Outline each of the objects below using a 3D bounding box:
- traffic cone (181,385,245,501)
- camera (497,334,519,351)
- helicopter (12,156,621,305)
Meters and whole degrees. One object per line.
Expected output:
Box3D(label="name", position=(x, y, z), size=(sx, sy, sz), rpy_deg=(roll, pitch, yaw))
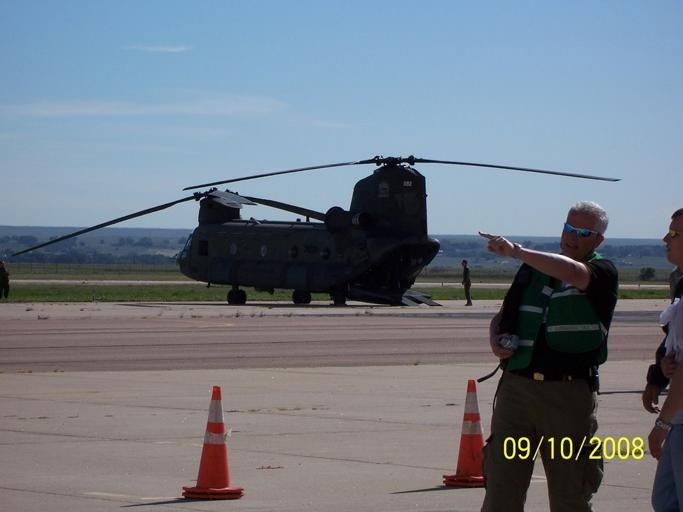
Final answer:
Box3D(label="traffic cone", position=(-1.226, 1.823, 11.007), size=(0.603, 1.052, 0.467), rpy_deg=(3, 5, -6))
Box3D(label="camera", position=(1.429, 0.730, 9.507), size=(0.173, 0.108, 0.141), rpy_deg=(8, -5, -8))
Box3D(label="helicopter", position=(-1.790, -0.449, 37.645), size=(9.605, 2.348, 8.557), rpy_deg=(3, 2, 44))
